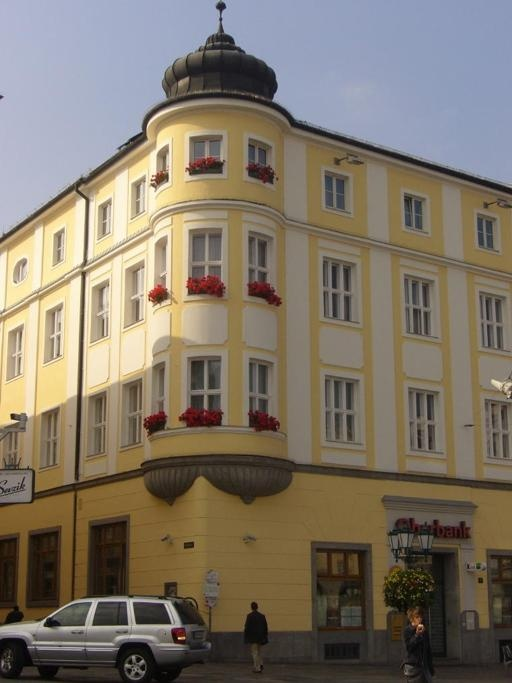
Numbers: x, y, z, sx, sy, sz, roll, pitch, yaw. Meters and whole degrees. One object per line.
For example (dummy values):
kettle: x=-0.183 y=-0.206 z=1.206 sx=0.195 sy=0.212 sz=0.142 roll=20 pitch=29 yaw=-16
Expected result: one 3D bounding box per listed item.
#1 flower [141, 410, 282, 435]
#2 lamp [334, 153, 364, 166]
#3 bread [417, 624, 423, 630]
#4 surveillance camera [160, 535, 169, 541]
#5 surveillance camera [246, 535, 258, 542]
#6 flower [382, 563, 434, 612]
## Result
flower: x=-1.197 y=1.998 z=24.632 sx=3.447 sy=0.688 sz=1.260 roll=-3 pitch=-19 yaw=5
lamp: x=2.876 y=-5.617 z=29.465 sx=0.587 sy=0.372 sz=0.519 roll=-9 pitch=-13 yaw=34
bread: x=2.293 y=3.994 z=13.435 sx=0.051 sy=0.089 sz=0.124 roll=-2 pitch=-18 yaw=3
surveillance camera: x=-2.362 y=5.088 z=24.943 sx=0.105 sy=0.149 sz=0.353 roll=8 pitch=-34 yaw=-17
surveillance camera: x=-0.133 y=4.985 z=24.332 sx=0.385 sy=0.238 sz=0.130 roll=16 pitch=-25 yaw=-41
flower: x=3.238 y=5.305 z=20.554 sx=1.027 sy=0.901 sz=0.742 roll=-7 pitch=-19 yaw=18
